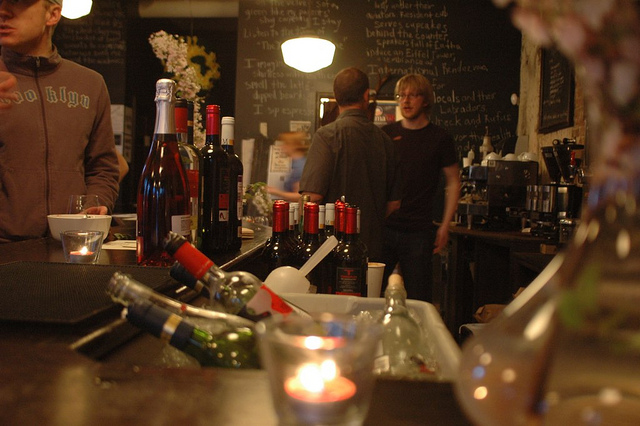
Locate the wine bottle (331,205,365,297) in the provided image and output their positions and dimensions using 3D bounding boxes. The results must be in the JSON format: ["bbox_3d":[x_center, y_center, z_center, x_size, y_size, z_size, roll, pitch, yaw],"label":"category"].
[{"bbox_3d":[0.080,0.101,1.340,0.091,0.233,0.125,4,5,-1],"label":"wine bottle"}]

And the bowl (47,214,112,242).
[{"bbox_3d":[-0.741,0.052,1.620,0.197,0.083,0.198,2,2,0],"label":"bowl"}]

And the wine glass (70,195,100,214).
[{"bbox_3d":[-0.789,-0.030,1.759,0.067,0.062,0.066,-1,1,-35],"label":"wine glass"}]

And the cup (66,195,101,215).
[{"bbox_3d":[-0.773,-0.024,1.728,0.075,0.070,0.074,1,-8,0],"label":"cup"}]

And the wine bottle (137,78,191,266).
[{"bbox_3d":[-0.371,-0.096,1.247,0.129,0.422,0.111,-2,15,-26],"label":"wine bottle"}]

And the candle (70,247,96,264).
[{"bbox_3d":[-0.567,0.100,1.271,0.053,0.037,0.050,0,7,-38],"label":"candle"}]

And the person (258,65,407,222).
[{"bbox_3d":[0.168,-0.365,2.757,0.280,0.772,0.597,9,7,42],"label":"person"}]

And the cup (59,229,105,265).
[{"bbox_3d":[-0.596,0.089,1.329,0.093,0.074,0.098,0,-6,0],"label":"cup"}]

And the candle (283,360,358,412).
[{"bbox_3d":[0.000,0.178,0.542,0.076,0.048,0.023,4,5,1],"label":"candle"}]
